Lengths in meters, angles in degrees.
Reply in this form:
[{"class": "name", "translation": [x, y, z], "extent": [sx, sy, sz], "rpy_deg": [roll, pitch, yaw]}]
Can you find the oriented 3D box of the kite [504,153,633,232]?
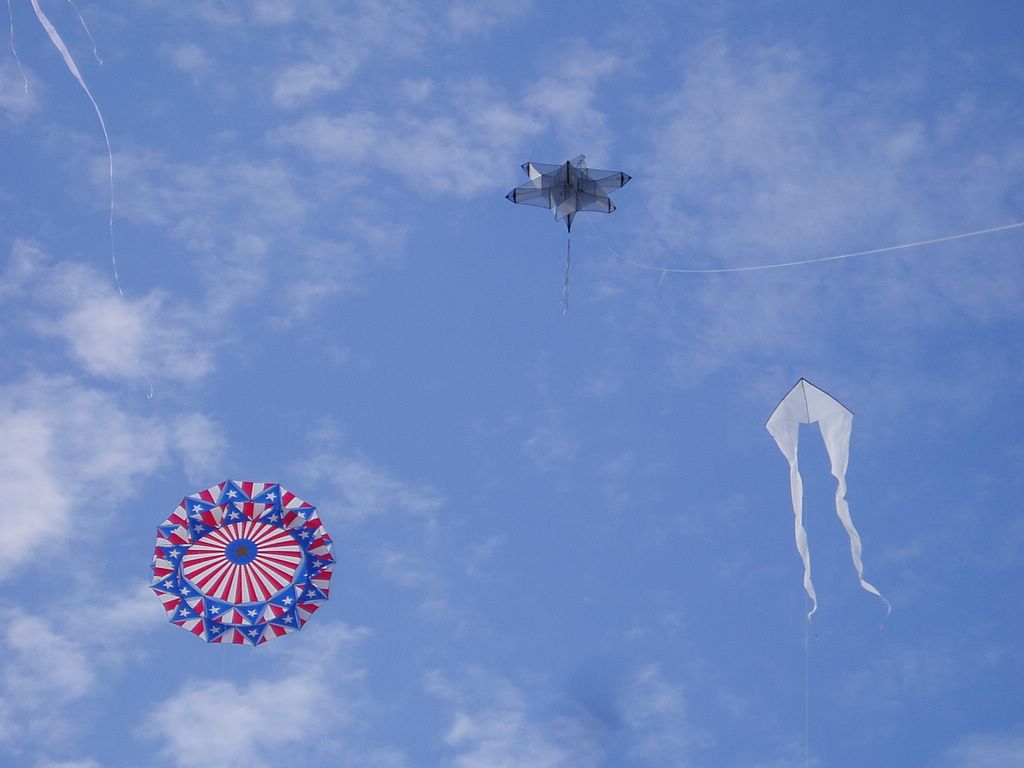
[{"class": "kite", "translation": [2.619, -8.372, 115.130], "extent": [5.207, 2.570, 4.398], "rpy_deg": [-3, -21, 23]}]
